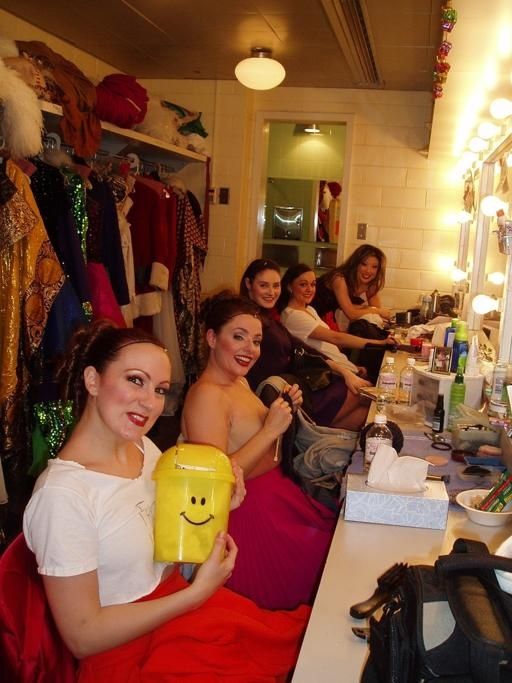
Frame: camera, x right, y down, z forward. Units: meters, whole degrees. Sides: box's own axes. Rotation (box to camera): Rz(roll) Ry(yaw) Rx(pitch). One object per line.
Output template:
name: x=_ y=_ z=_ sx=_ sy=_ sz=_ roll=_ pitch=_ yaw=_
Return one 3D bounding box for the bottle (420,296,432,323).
bottle: x=1.571 y=-0.309 z=4.880 sx=0.087 sy=0.209 sz=0.202 roll=7 pitch=12 yaw=18

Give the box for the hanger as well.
hanger: x=-1.074 y=-1.208 z=3.379 sx=0.433 sy=0.222 sz=1.031 roll=2 pitch=8 yaw=17

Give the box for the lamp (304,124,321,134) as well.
lamp: x=0.744 y=-2.878 z=7.105 sx=0.214 sy=0.086 sz=0.267 roll=5 pitch=12 yaw=9

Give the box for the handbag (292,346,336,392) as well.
handbag: x=0.291 y=0.144 z=2.954 sx=0.204 sy=0.246 sz=0.244 roll=27 pitch=-20 yaw=-12

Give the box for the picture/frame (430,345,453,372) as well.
picture/frame: x=0.757 y=0.068 z=2.147 sx=0.082 sy=0.098 sz=0.026 roll=3 pitch=-1 yaw=12

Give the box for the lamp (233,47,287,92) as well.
lamp: x=0.029 y=-2.162 z=4.332 sx=0.438 sy=0.292 sz=0.423 roll=3 pitch=25 yaw=3
